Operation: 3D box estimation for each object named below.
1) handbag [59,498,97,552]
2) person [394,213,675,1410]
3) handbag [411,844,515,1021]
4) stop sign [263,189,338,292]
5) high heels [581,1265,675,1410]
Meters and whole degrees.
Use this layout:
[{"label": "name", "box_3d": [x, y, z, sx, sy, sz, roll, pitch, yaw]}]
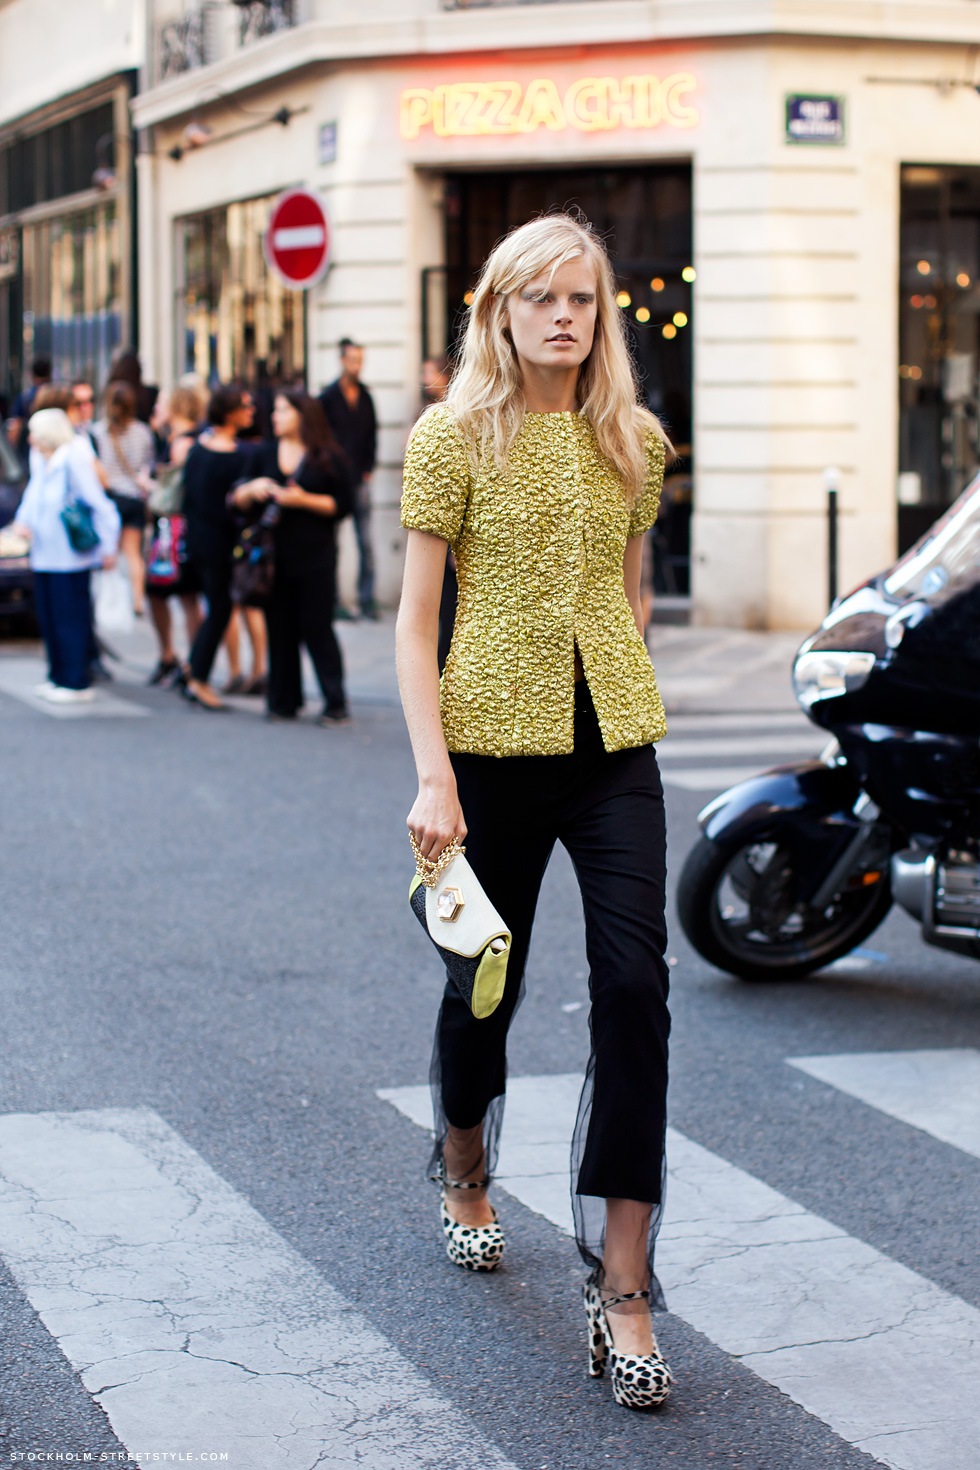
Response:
[{"label": "handbag", "box_3d": [-2.973, -1.469, 11.030, 0.120, 0.290, 0.240, -6, 36, 23]}, {"label": "person", "box_3d": [0.046, 0.079, 2.312, 0.512, 1.506, 0.594, 0, 2, -7]}, {"label": "handbag", "box_3d": [-0.046, 0.293, 2.221, 0.121, 0.256, 0.236, -1, 8, -7]}, {"label": "stop sign", "box_3d": [-1.702, -4.326, 13.557, 0.556, 0.824, 0.274, 1, 8, 5]}, {"label": "high heels", "box_3d": [0.180, 0.819, 2.068, 0.057, 0.104, 0.198, 1, 10, -18]}]
